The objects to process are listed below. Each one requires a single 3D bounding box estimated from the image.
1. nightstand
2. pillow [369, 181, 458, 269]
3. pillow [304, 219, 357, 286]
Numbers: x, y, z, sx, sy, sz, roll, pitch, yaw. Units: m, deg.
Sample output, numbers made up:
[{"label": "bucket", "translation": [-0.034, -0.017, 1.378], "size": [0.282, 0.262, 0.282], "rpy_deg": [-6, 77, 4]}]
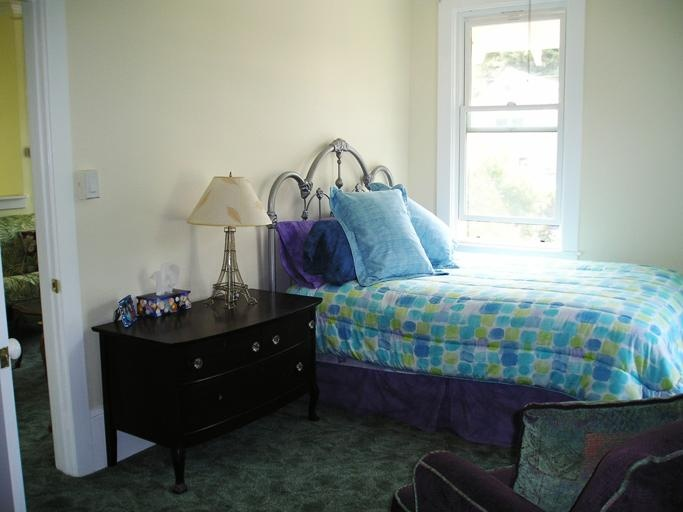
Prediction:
[{"label": "nightstand", "translation": [-0.628, 0.643, 2.903], "size": [0.602, 0.759, 1.051], "rpy_deg": [4, 9, 34]}, {"label": "pillow", "translation": [0.479, -0.119, 3.854], "size": [0.170, 0.611, 0.532], "rpy_deg": [-26, -9, 27]}, {"label": "pillow", "translation": [-0.088, -0.022, 3.365], "size": [0.305, 0.402, 0.113], "rpy_deg": [0, -6, 23]}]
